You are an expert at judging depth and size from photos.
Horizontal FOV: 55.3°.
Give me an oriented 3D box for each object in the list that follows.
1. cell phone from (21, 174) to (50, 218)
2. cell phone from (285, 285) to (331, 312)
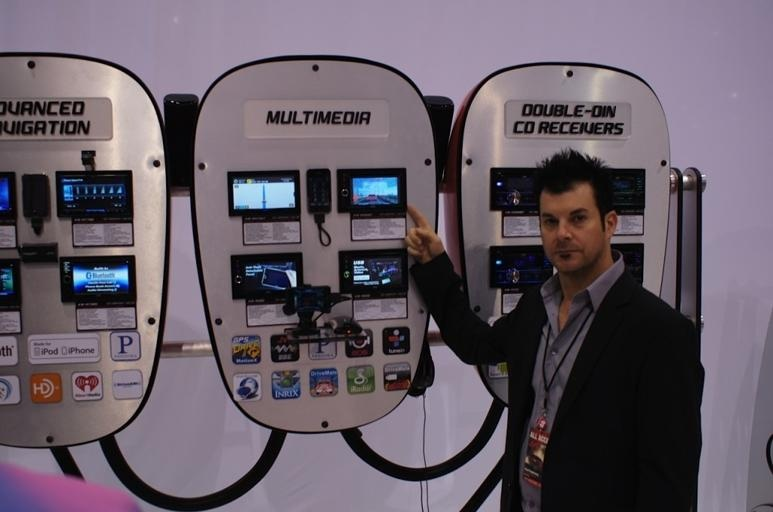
[{"bbox_3d":[-1.856,-0.315,3.915,0.135,0.237,0.029,-4,4,-5],"label":"cell phone"},{"bbox_3d":[-0.418,0.231,3.943,0.251,0.137,0.032,-5,4,-9],"label":"cell phone"}]
